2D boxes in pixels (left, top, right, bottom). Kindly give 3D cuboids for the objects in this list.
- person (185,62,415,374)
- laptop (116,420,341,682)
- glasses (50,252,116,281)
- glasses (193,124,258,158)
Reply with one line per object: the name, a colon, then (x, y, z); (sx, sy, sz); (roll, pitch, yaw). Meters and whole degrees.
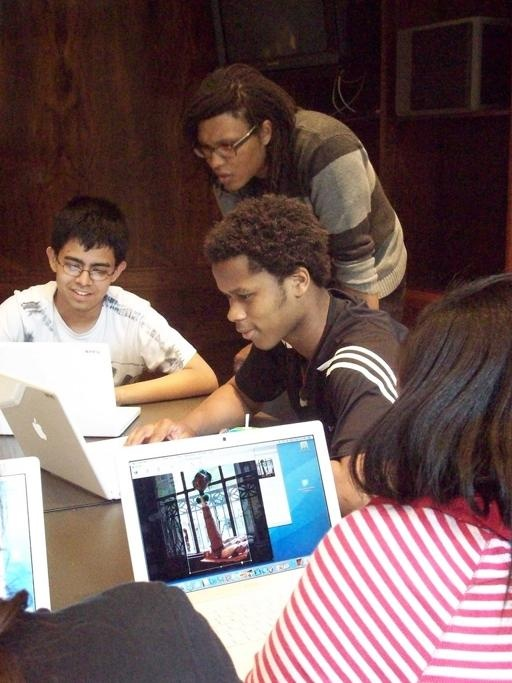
person: (0.153, -0.328, 1.887); (0.658, 1.113, 0.565); (-9, 25, -2)
laptop: (-0.041, 0.259, 0.856); (0.319, 0.181, 0.291); (-8, 11, -19)
glasses: (-0.533, -0.228, 1.791); (0.165, 0.093, 0.103); (-12, 11, -14)
glasses: (-0.082, -0.548, 1.613); (0.110, 0.032, 0.108); (-40, 31, -25)
